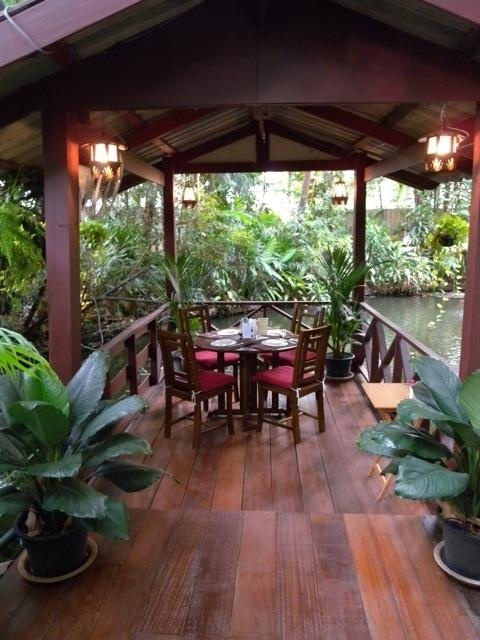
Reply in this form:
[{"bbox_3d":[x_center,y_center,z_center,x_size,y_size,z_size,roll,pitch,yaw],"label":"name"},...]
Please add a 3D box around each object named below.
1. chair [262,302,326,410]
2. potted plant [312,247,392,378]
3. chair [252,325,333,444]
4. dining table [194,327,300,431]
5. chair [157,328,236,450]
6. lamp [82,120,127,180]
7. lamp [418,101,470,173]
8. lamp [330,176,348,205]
[{"bbox_3d":[0.549,0.299,3.943,0.423,0.559,0.402,-7,7,-27],"label":"chair"},{"bbox_3d":[1.010,-0.071,4.900,0.985,1.485,0.917,6,-12,-11],"label":"potted plant"},{"bbox_3d":[0.391,0.447,3.354,0.528,0.778,0.571,-3,6,-25],"label":"chair"},{"bbox_3d":[0.070,0.410,3.737,0.786,0.621,0.763,1,16,5],"label":"dining table"},{"bbox_3d":[-0.327,0.474,3.324,0.544,0.795,0.517,-2,5,-26],"label":"chair"},{"bbox_3d":[-0.821,-1.072,2.872,0.314,0.354,0.256,7,22,15],"label":"lamp"},{"bbox_3d":[1.318,-1.166,2.848,0.284,0.442,0.280,3,4,34],"label":"lamp"},{"bbox_3d":[1.298,-1.698,5.681,0.169,0.377,0.440,1,4,13],"label":"lamp"}]
